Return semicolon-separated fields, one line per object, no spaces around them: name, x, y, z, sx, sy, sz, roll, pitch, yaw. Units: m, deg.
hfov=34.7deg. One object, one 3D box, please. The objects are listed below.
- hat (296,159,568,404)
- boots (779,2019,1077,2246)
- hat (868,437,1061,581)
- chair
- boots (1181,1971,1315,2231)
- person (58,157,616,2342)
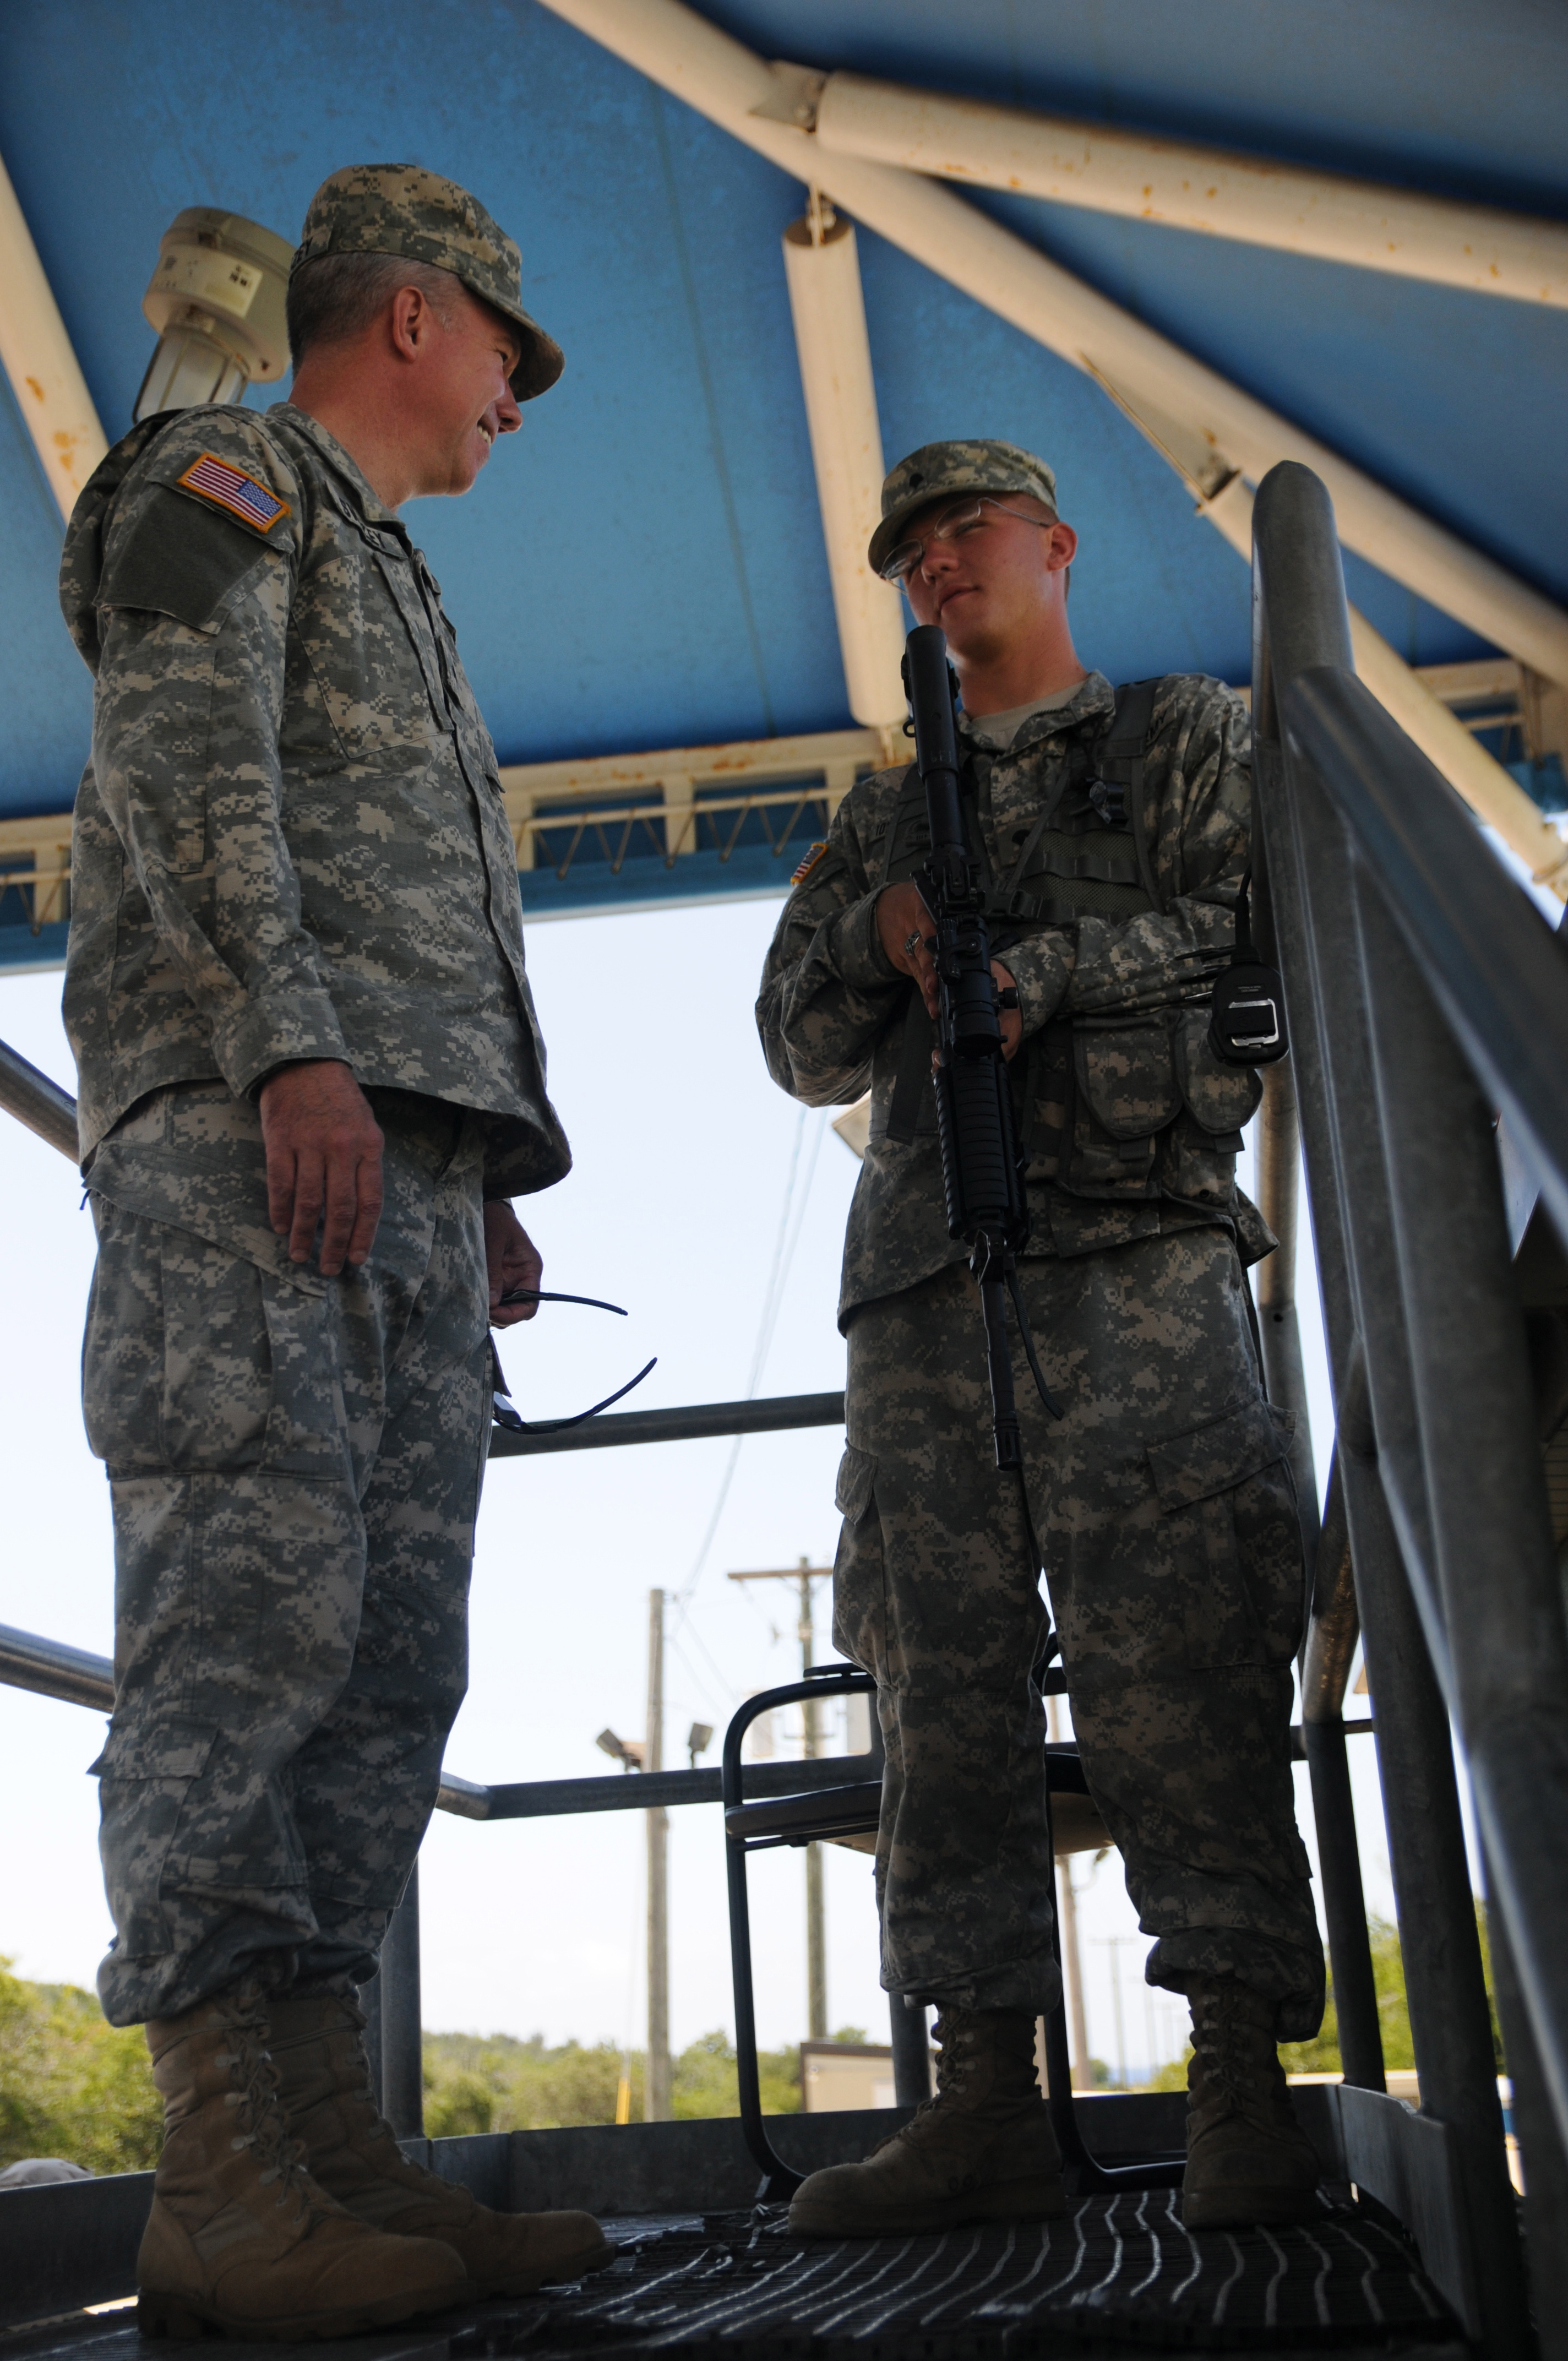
hat;-0.339;-0.875;2.383;0.256;0.127;0.174;13;-1;-15
boots;0.112;0.776;2.107;0.253;0.174;0.098;2;-19;-21
hat;0.186;-0.716;2.678;0.185;0.059;0.134;-11;-11;-45
chair;0.149;0.838;2.952;0.459;0.649;0.456;16;-18;-3
boots;0.340;0.695;1.899;0.102;0.172;0.129;-8;-22;7
person;-0.385;0.055;1.951;0.345;1.525;0.458;-9;-23;10
